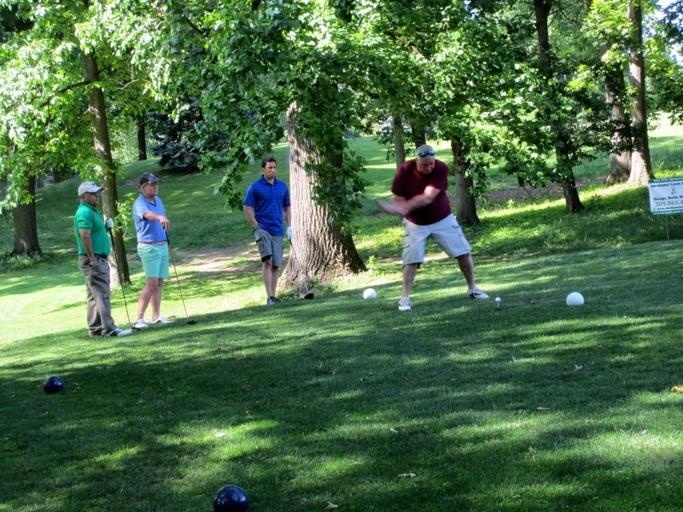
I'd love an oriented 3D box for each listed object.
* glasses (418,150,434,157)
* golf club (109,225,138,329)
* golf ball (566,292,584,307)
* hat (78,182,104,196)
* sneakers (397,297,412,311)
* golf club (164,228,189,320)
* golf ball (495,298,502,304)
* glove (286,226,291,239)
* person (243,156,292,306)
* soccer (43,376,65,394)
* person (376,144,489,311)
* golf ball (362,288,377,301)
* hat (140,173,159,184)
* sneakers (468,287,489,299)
[{"bbox_3d":[1.120,-1.358,11.100,0.219,0.092,0.139,-9,2,-4],"label":"glasses"},{"bbox_3d":[-5.215,0.524,19.925,0.388,2.346,0.320,-15,7,-22],"label":"golf club"},{"bbox_3d":[2.941,0.552,10.590,0.178,0.177,0.183,25,1,-1],"label":"golf ball"},{"bbox_3d":[-3.654,-0.985,12.140,0.345,0.180,0.256,-9,10,-10],"label":"hat"},{"bbox_3d":[0.866,0.650,11.564,0.194,0.174,0.341,-9,2,4],"label":"sneakers"},{"bbox_3d":[-4.180,0.487,21.222,0.067,2.278,0.161,-17,0,29],"label":"golf club"},{"bbox_3d":[2.072,0.571,11.065,0.052,0.107,0.042,16,-16,-23],"label":"golf ball"},{"bbox_3d":[-0.908,-0.399,14.421,0.061,0.196,0.143,2,11,-5],"label":"glove"},{"bbox_3d":[-1.176,-0.432,14.025,0.763,2.310,1.202,-9,2,-3],"label":"person"},{"bbox_3d":[-3.296,1.466,9.569,0.224,0.199,0.226,-10,3,-22],"label":"soccer"},{"bbox_3d":[1.164,-0.416,11.511,1.343,1.994,0.881,-11,3,-39],"label":"person"},{"bbox_3d":[0.431,0.622,13.206,0.164,0.161,0.189,-47,9,22],"label":"golf ball"},{"bbox_3d":[-2.928,-1.172,12.602,0.270,0.189,0.299,-9,2,-3],"label":"hat"},{"bbox_3d":[1.911,0.512,11.654,0.234,0.105,0.132,4,6,18],"label":"sneakers"}]
